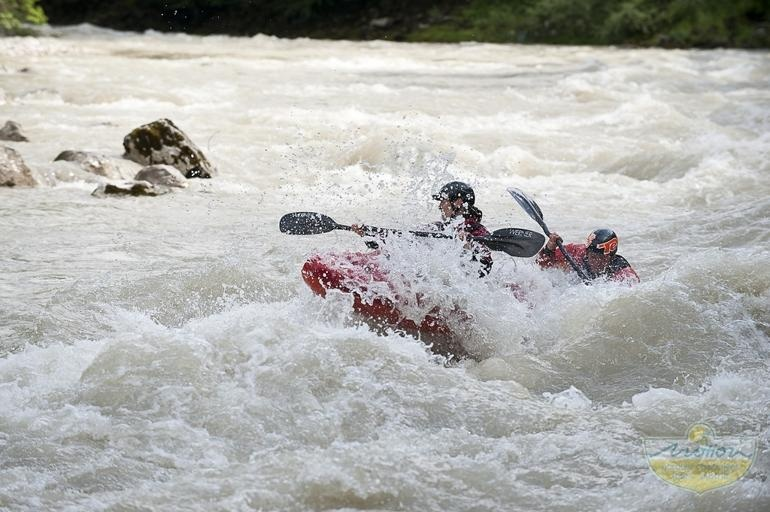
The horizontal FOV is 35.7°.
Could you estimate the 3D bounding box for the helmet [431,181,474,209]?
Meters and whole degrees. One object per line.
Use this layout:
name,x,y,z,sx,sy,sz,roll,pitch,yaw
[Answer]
helmet,0.992,-0.891,17.209,0.537,0.205,0.336,9,4,4

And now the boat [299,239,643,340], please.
boat,1.117,0.424,17.280,3.983,0.512,1.909,0,19,-13

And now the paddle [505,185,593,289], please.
paddle,2.580,-0.256,18.888,2.387,0.293,0.273,49,10,32
